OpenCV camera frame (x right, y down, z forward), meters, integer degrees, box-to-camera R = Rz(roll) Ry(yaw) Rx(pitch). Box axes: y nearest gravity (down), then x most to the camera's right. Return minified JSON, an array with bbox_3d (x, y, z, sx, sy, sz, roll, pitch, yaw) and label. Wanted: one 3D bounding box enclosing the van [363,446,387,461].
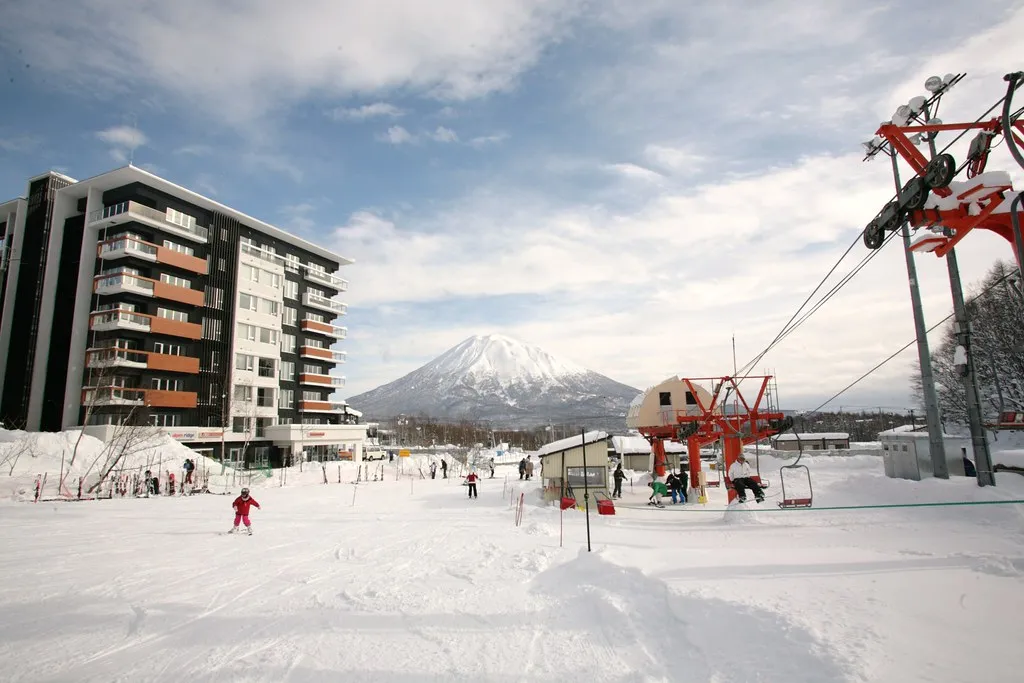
[{"bbox_3d":[-21.927,17.738,95.881,4.227,1.773,2.507,0,-1,-40],"label":"van"}]
